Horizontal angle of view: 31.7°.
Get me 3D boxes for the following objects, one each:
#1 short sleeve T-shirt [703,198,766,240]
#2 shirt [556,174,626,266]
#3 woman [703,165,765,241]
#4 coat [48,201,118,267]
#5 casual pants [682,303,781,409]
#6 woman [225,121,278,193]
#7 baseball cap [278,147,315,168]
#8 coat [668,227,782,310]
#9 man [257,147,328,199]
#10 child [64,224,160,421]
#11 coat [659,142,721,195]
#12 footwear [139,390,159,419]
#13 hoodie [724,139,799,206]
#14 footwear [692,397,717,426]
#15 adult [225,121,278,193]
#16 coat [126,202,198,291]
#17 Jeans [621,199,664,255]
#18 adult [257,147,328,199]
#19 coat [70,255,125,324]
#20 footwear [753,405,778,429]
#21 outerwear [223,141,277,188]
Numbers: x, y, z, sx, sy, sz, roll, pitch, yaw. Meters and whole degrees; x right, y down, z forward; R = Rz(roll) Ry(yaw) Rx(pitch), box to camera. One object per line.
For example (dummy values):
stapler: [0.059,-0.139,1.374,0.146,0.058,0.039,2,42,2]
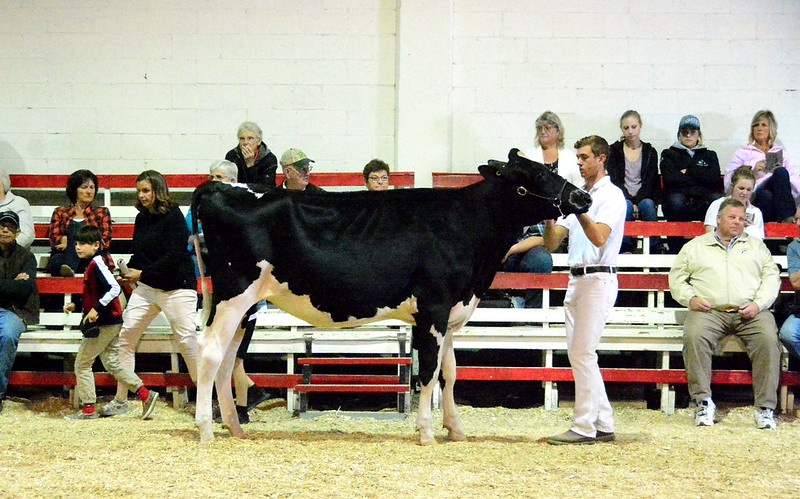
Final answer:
short sleeve T-shirt: [5.414,-0.471,22.110,0.737,0.751,0.353,15,2,10]
shirt: [2.759,-0.437,20.337,0.778,1.374,1.335,3,-3,-21]
woman: [5.510,-0.624,22.309,0.793,1.231,0.673,-7,-20,2]
coat: [-4.971,-0.292,22.501,0.847,0.863,0.483,-6,4,-6]
casual pants: [5.061,1.652,21.469,1.427,1.475,0.506,-1,1,11]
woman: [-2.359,-1.419,22.229,0.809,1.144,0.674,6,14,1]
baseball cap: [-1.565,-1.378,21.121,0.429,0.245,0.292,-10,3,15]
coat: [5.061,0.322,21.861,1.661,1.202,0.910,-1,10,6]
man: [-1.679,-1.134,21.084,0.728,0.966,0.582,-5,21,0]
child: [-4.465,1.131,21.424,1.504,2.886,1.030,1,-4,-2]
coat: [4.923,-1.317,23.768,0.983,0.981,0.611,-2,-6,14]
footwear: [-3.785,2.314,21.322,0.228,0.523,0.181,19,16,-1]
hoodie: [5.992,-1.309,23.711,0.864,0.603,1.278,14,7,2]
footwear: [4.617,2.437,21.346,0.294,0.416,0.196,-1,1,5]
adult: [-2.365,-1.411,22.225,0.788,1.141,0.642,5,12,-1]
coat: [-3.720,-0.007,21.285,0.988,1.278,0.894,3,6,26]
Jeans: [4.022,-0.415,23.346,0.615,0.900,0.680,-1,1,13]
adult: [-1.516,-1.131,21.208,0.482,0.776,0.598,2,-9,-38]
coat: [-4.406,0.634,21.197,0.828,1.368,1.128,1,0,-27]
footwear: [5.532,2.534,21.271,0.318,0.310,0.217,-1,1,13]
outerwear: [-2.262,-1.308,22.148,0.879,1.072,0.730,3,1,-4]
